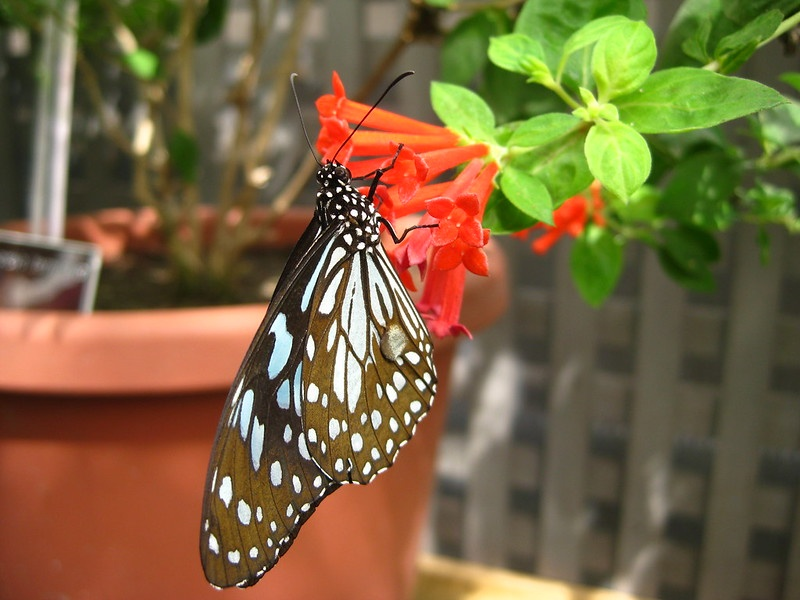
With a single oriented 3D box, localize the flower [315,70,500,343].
[{"bbox_3d":[0.020,-0.117,1.086,0.206,0.324,0.233,-3,10,-40],"label":"flower"}]
